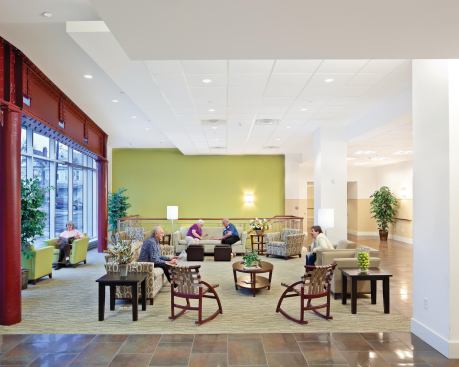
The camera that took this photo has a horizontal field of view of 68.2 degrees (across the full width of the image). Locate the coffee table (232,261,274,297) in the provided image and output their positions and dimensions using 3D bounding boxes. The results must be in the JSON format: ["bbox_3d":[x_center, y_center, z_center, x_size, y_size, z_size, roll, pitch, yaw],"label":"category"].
[{"bbox_3d":[0.529,2.067,7.376,0.739,0.451,0.724,2,-1,-35],"label":"coffee table"}]

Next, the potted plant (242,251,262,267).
[{"bbox_3d":[0.496,1.660,7.384,0.341,0.258,0.345,1,-9,-1],"label":"potted plant"}]

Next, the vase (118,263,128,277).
[{"bbox_3d":[-1.856,1.547,6.020,0.220,0.231,0.193,1,-10,-5],"label":"vase"}]

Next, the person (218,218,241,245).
[{"bbox_3d":[0.047,1.682,11.622,0.604,0.862,0.802,0,3,7],"label":"person"}]

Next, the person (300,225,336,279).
[{"bbox_3d":[2.058,1.566,7.735,0.749,1.036,0.758,0,-8,-5],"label":"person"}]

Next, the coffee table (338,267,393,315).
[{"bbox_3d":[2.493,1.882,6.332,0.915,0.690,0.726,1,-7,-4],"label":"coffee table"}]

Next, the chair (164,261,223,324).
[{"bbox_3d":[-0.693,1.845,6.162,0.841,1.173,1.041,0,2,21],"label":"chair"}]

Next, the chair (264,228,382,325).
[{"bbox_3d":[1.790,1.732,6.580,1.153,2.096,1.443,1,0,-25],"label":"chair"}]

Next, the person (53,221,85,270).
[{"bbox_3d":[-4.754,1.978,9.914,0.966,0.901,1.131,-1,-8,-14],"label":"person"}]

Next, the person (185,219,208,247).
[{"bbox_3d":[-1.168,1.951,11.949,0.737,1.217,0.555,16,-5,0],"label":"person"}]

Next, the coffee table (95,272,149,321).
[{"bbox_3d":[-1.878,1.839,5.980,0.709,0.693,0.934,-1,-3,1],"label":"coffee table"}]

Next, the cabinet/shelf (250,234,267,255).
[{"bbox_3d":[1.092,2.301,12.658,0.792,0.847,0.791,-1,-7,-2],"label":"cabinet/shelf"}]

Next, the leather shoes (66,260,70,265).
[{"bbox_3d":[-4.620,2.282,9.725,0.094,0.111,0.256,0,2,-13],"label":"leather shoes"}]

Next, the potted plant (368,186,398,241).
[{"bbox_3d":[7.417,1.440,16.310,0.984,2.526,1.449,0,3,1],"label":"potted plant"}]

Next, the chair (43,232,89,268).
[{"bbox_3d":[-4.643,1.972,9.718,0.837,0.885,1.006,0,-10,0],"label":"chair"}]

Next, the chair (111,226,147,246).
[{"bbox_3d":[-2.941,1.570,10.048,0.912,0.898,0.876,0,-8,-3],"label":"chair"}]

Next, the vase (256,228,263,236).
[{"bbox_3d":[1.098,1.789,12.209,0.193,0.131,0.193,-1,0,-12],"label":"vase"}]

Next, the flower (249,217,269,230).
[{"bbox_3d":[1.112,1.513,12.502,0.569,0.325,0.570,1,-3,0],"label":"flower"}]
